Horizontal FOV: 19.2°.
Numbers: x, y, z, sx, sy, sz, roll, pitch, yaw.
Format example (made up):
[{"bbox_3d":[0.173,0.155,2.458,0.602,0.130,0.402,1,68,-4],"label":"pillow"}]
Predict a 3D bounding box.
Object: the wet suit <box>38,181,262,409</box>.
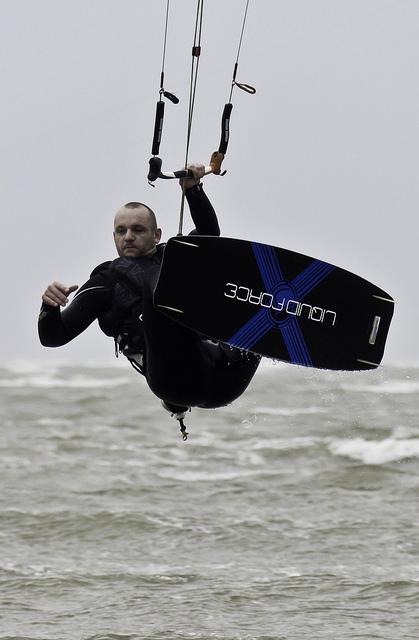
[{"bbox_3d":[0.072,-0.134,8.183,1.023,1.020,2.699,-4,10,21],"label":"wet suit"}]
